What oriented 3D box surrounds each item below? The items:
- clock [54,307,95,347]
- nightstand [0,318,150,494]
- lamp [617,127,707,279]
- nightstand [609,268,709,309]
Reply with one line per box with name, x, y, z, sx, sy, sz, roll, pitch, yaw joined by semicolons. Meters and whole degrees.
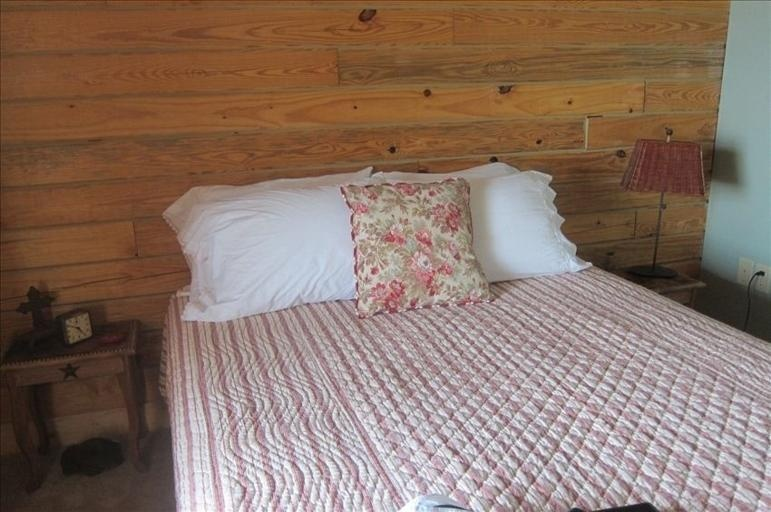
clock;-1.329;0.322;2.423;0.173;0.133;0.059;-24;-22;21
nightstand;-1.414;0.666;2.478;0.641;0.663;0.409;-7;21;-13
lamp;1.519;-0.268;3.084;0.398;0.794;0.554;3;21;13
nightstand;1.486;0.137;3.003;0.286;0.265;0.328;-16;30;-29
